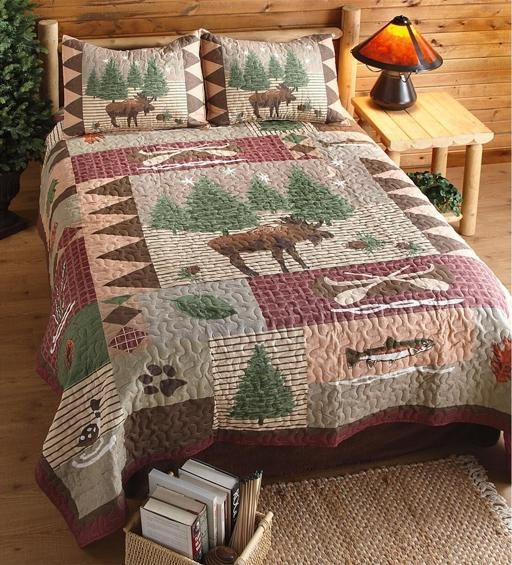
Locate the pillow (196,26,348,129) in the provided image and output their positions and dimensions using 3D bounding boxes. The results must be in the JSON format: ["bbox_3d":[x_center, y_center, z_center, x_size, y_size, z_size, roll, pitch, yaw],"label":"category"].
[{"bbox_3d":[0.045,-0.897,2.362,0.854,0.435,0.181,0,-3,-9],"label":"pillow"}]

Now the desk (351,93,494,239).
[{"bbox_3d":[0.804,-0.599,2.877,0.870,0.664,0.717,-7,39,-4],"label":"desk"}]

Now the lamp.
[{"bbox_3d":[0.593,-1.041,2.588,0.526,0.426,0.437,5,40,8],"label":"lamp"}]

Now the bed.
[{"bbox_3d":[-0.115,0.088,2.227,1.814,0.865,1.751,-7,45,-11],"label":"bed"}]

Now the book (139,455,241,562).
[{"bbox_3d":[-0.148,0.505,1.179,0.188,0.149,0.099,17,33,31],"label":"book"}]
